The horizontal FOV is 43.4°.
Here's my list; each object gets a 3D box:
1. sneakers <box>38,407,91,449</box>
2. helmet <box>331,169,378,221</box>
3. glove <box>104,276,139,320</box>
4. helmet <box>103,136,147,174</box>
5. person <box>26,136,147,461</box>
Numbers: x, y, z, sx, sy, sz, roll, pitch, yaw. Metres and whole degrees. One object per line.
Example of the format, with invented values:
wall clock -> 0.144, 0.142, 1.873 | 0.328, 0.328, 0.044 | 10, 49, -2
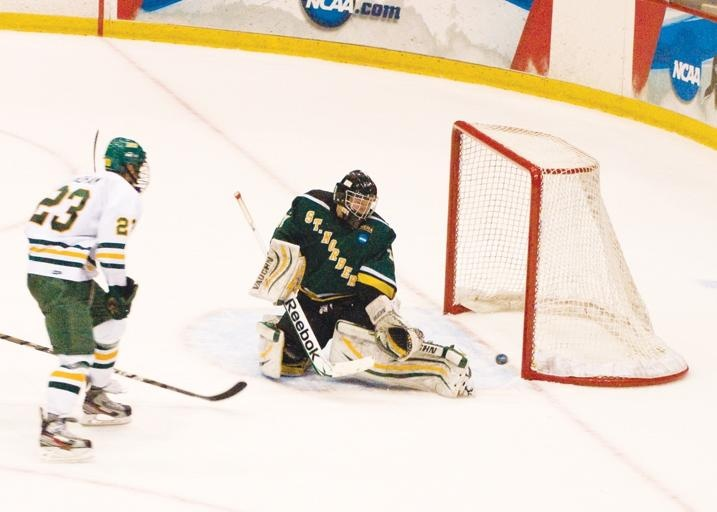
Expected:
sneakers -> -1.438, 0.850, 4.354 | 0.108, 0.200, 0.323 | -11, -20, 43
helmet -> -0.018, -0.348, 5.221 | 0.296, 0.298, 0.267 | 6, 10, 41
glove -> -1.208, 0.224, 4.580 | 0.164, 0.243, 0.120 | -11, 25, -38
helmet -> -1.204, -0.518, 4.725 | 0.247, 0.175, 0.176 | 9, -3, -14
person -> -1.331, 0.168, 4.476 | 0.592, 1.478, 0.745 | 6, 12, -28
